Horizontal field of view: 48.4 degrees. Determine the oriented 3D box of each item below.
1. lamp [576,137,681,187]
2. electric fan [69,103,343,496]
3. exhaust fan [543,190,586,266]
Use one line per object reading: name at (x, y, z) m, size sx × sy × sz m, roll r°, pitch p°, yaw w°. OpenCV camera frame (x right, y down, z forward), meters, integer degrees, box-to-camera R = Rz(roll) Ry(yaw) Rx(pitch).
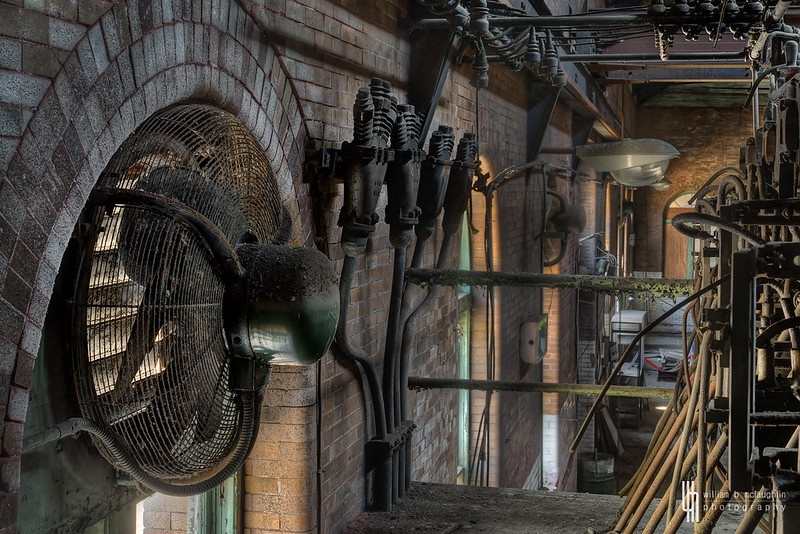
lamp at (2.404, -1.177, 9.241) m, size 0.920 × 0.477 × 1.134 m, roll -1°, pitch -6°, yaw 26°
electric fan at (-0.751, 0.124, 3.891) m, size 0.909 × 1.695 × 1.514 m, roll 5°, pitch -1°, yaw 8°
exhaust fan at (2.094, -0.509, 11.306) m, size 0.528 × 1.012 × 0.363 m, roll 5°, pitch 16°, yaw 10°
